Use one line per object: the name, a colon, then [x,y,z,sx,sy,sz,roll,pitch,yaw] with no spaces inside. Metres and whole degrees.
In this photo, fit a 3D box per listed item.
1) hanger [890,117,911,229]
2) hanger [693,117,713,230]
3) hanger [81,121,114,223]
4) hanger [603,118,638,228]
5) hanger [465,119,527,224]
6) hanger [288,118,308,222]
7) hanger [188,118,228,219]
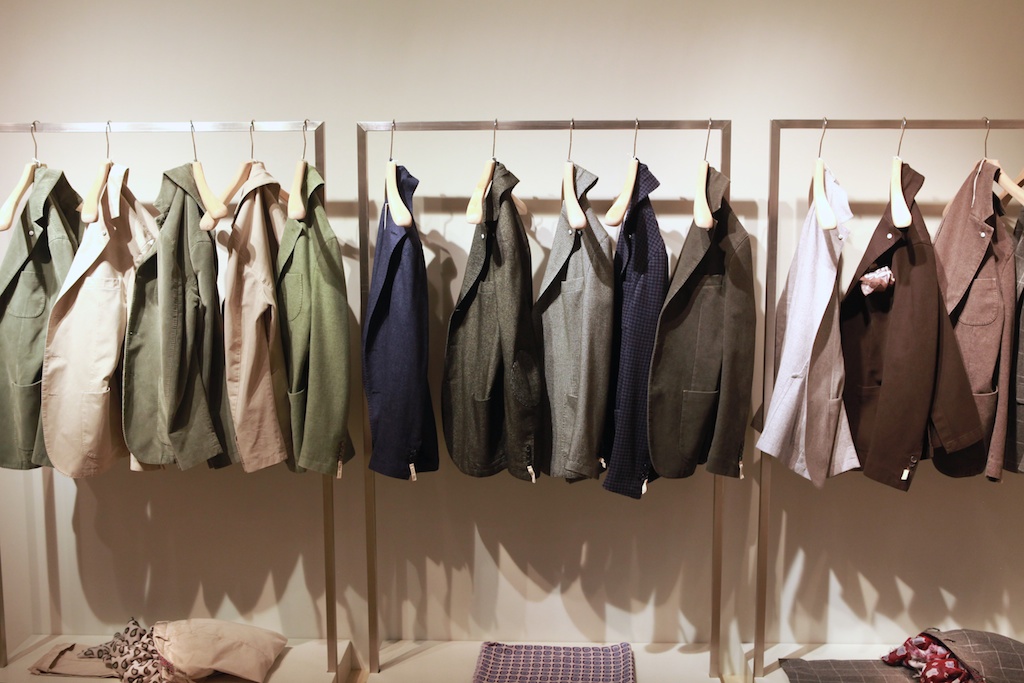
hanger: [1.495,-0.641,3.513,0.074,0.413,0.387,2,6,23]
hanger: [0.744,-0.640,3.537,0.073,0.420,0.331,0,5,12]
hanger: [-1.604,-0.649,3.540,0.070,0.440,0.103,6,-16,-1]
hanger: [0.427,-0.645,3.535,0.125,0.402,0.347,0,5,8]
hanger: [-0.057,-0.669,3.566,0.090,0.408,0.346,5,17,18]
hanger: [-0.829,-0.655,3.547,0.092,0.388,0.386,-2,5,-13]
hanger: [-1.185,-0.678,3.559,0.072,0.441,0.105,-13,-8,-29]
